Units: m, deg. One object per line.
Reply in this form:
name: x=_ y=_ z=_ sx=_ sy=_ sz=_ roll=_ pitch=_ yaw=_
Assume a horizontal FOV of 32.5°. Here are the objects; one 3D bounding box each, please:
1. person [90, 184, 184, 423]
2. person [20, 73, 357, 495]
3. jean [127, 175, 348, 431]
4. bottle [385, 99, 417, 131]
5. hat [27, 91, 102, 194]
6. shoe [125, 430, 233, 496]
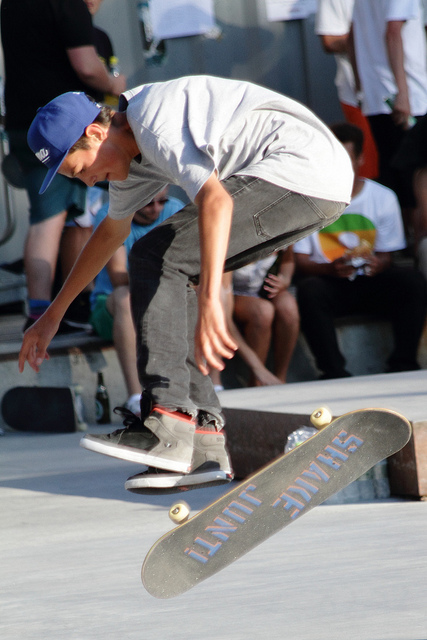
person: x=-0.494 y=-0.122 z=4.047 sx=0.356 sy=1.150 sz=1.140 roll=4 pitch=4 yaw=10
person: x=-0.060 y=-0.123 z=1.922 sx=0.946 sy=1.024 sz=0.665 roll=-6 pitch=4 yaw=5
jean: x=-0.016 y=-0.059 z=1.943 sx=0.389 sy=0.642 sz=0.667 roll=24 pitch=47 yaw=23
bottle: x=1.259 y=-1.362 z=4.909 sx=0.234 sy=0.237 sz=0.169 roll=1 pitch=43 yaw=1
hat: x=-0.362 y=-0.423 z=1.813 sx=0.152 sy=0.246 sz=0.158 roll=32 pitch=0 yaw=-10
shoe: x=-0.088 y=0.374 z=1.983 sx=0.308 sy=0.166 sz=0.120 roll=-13 pitch=-26 yaw=28
